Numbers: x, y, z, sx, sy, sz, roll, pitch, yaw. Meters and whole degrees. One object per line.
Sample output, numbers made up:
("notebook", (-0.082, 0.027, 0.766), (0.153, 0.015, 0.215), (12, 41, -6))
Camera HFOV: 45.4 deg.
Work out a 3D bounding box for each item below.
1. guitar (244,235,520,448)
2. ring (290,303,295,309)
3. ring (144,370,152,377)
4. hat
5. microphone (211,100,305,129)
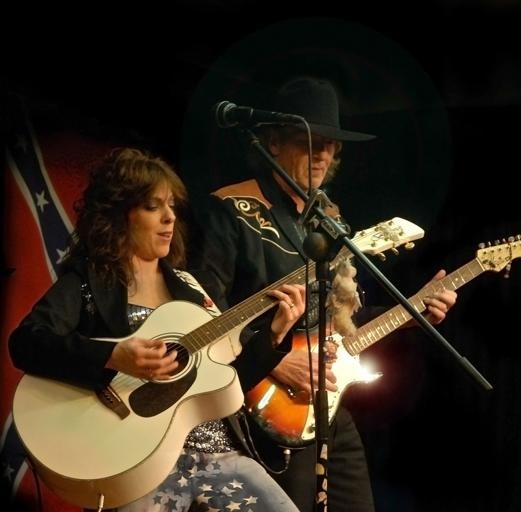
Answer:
("guitar", (0.573, 0.431, 2.956), (1.324, 0.412, 0.149), (-29, -17, -20))
("ring", (0.121, 0.197, 2.452), (0.019, 0.024, 0.006), (-4, -3, -12))
("ring", (-0.405, 0.424, 2.239), (0.017, 0.021, 0.005), (8, 3, -19))
("hat", (0.215, -0.717, 2.979), (0.786, 0.270, 0.512), (5, 9, 4))
("microphone", (-0.034, -0.504, 2.326), (0.421, 0.115, 0.113), (4, 34, 29))
